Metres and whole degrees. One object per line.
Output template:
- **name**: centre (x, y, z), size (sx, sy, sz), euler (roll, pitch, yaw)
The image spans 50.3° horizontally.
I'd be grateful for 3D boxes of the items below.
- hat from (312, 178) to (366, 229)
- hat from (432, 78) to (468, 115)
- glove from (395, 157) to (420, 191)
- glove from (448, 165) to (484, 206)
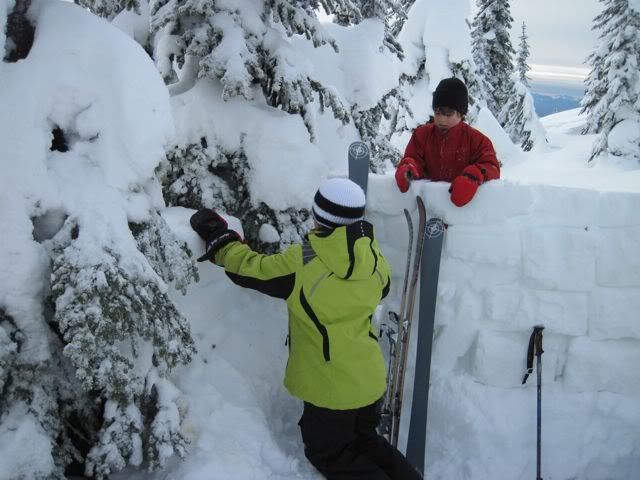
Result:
- **hat**: centre (0.157, -0.287, 5.388), size (0.337, 0.313, 0.380), euler (2, 27, -20)
- **hat**: centre (1.247, -1.340, 6.311), size (0.273, 0.326, 0.329), euler (24, 21, 15)
- **glove**: centre (0.822, -0.615, 6.370), size (0.101, 0.321, 0.180), euler (7, 8, -33)
- **glove**: centre (1.288, -0.469, 5.976), size (0.221, 0.386, 0.099), euler (25, -11, 13)
